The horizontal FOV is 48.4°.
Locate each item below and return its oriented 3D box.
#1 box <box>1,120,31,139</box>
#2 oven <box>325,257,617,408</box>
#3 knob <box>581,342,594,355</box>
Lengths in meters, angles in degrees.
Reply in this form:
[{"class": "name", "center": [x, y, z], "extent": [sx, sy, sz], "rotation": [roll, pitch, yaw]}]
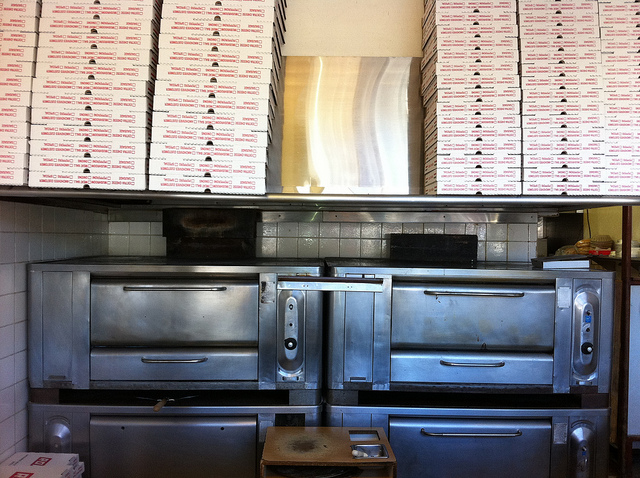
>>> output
[{"class": "box", "center": [-1.764, -0.631, 4.113], "extent": [0.175, 0.081, 0.092], "rotation": [1, -3, -1]}, {"class": "oven", "center": [0.846, 0.635, 4.690], "extent": [1.869, 0.834, 1.022], "rotation": [2, -4, -7]}, {"class": "knob", "center": [1.607, 0.654, 4.269], "extent": [0.077, 0.050, 0.018], "rotation": [-2, -2, -2]}]
